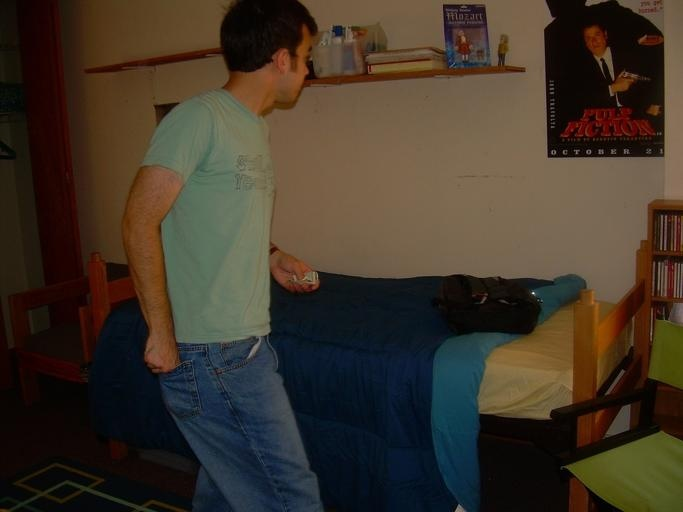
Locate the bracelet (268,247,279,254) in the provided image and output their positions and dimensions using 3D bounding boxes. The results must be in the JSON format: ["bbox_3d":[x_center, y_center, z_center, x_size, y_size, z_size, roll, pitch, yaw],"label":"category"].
[{"bbox_3d":[-0.265,-0.020,2.155,0.017,0.034,0.061,-7,6,-14],"label":"bracelet"}]

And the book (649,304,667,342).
[{"bbox_3d":[1.547,0.332,2.707,0.110,0.183,0.202,-3,-4,23],"label":"book"}]

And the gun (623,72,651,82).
[{"bbox_3d":[1.692,-1.025,3.169,0.104,0.028,0.065,12,10,21],"label":"gun"}]

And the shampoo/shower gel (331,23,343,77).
[{"bbox_3d":[-0.023,-1.317,3.577,0.087,0.297,0.098,-2,14,0],"label":"shampoo/shower gel"}]
